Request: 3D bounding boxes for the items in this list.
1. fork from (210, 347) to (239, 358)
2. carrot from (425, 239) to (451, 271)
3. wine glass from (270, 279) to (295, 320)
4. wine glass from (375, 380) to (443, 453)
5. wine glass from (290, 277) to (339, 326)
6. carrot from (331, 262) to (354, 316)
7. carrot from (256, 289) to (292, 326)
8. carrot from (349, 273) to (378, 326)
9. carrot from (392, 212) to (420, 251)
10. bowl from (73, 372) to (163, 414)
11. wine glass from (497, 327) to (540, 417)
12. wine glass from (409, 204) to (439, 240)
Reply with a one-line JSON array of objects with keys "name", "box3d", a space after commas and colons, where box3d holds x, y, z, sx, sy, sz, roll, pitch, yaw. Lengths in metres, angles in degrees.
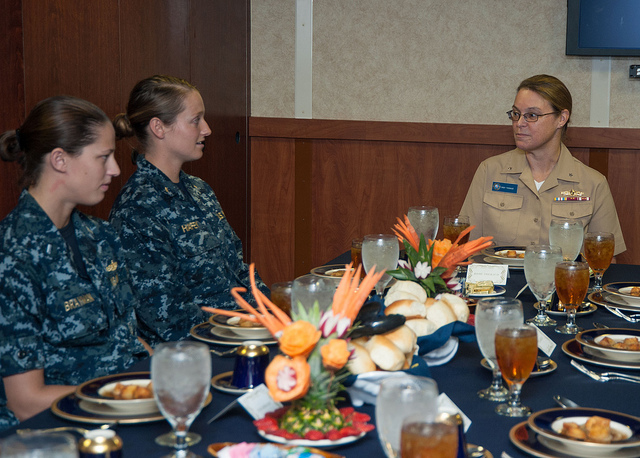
[{"name": "fork", "box3d": [-0.275, 0.344, 1.592, 0.072, 0.010, 0.050, 0, 11, 1]}, {"name": "carrot", "box3d": [0.391, 0.071, 1.820, 0.049, 0.094, 0.087, 25, -33, -17]}, {"name": "wine glass", "box3d": [-0.096, 0.207, 1.599, 0.081, 0.095, 0.086, 4, 3, 22]}, {"name": "wine glass", "box3d": [0.158, 0.314, 1.011, 0.109, 0.144, 0.117, 0, -1, -2]}, {"name": "wine glass", "box3d": [-0.018, 0.153, 1.233, 0.086, 0.156, 0.089, 2, 1, 1]}, {"name": "carrot", "box3d": [0.054, 0.122, 1.229, 0.024, 0.126, 0.027, 30, -32, -8]}, {"name": "carrot", "box3d": [-0.107, 0.167, 1.260, 0.007, 0.039, 0.140, 18, 21, -40]}, {"name": "carrot", "box3d": [0.097, 0.162, 1.281, 0.015, 0.145, 0.016, 15, -23, 45]}, {"name": "carrot", "box3d": [0.293, 0.017, 1.902, 0.050, 0.142, 0.048, -15, -17, -3]}, {"name": "bowl", "box3d": [-0.466, 0.375, 1.306, 0.169, 0.040, 0.180, 1, 2, 0]}, {"name": "wine glass", "box3d": [0.448, 0.306, 1.284, 0.081, 0.206, 0.123, 4, 10, 25]}, {"name": "wine glass", "box3d": [0.406, -0.029, 2.328, 0.130, 0.165, 0.137, -1, 0, -22]}]
